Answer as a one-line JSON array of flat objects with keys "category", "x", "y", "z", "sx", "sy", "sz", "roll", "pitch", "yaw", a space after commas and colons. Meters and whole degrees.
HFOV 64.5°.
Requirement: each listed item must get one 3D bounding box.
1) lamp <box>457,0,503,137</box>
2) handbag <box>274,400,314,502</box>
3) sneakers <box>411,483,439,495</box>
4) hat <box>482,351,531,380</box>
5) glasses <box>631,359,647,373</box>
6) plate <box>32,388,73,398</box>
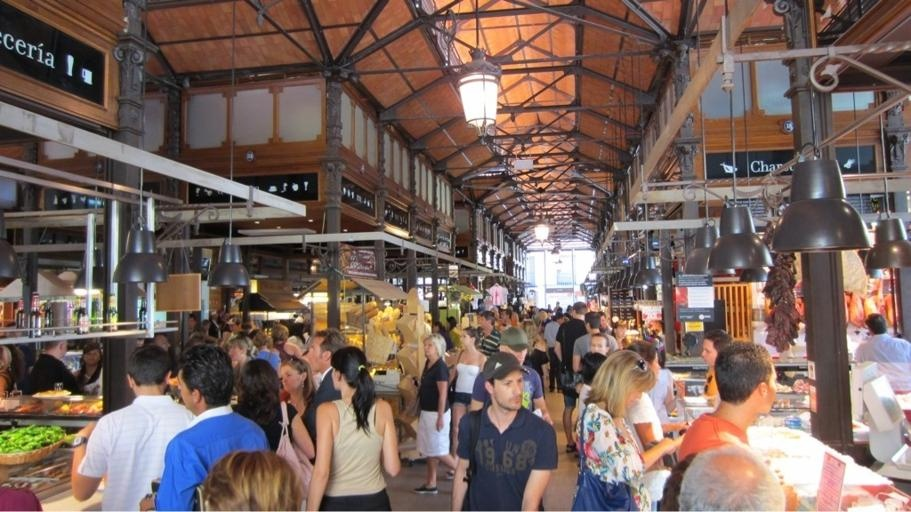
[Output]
[{"category": "lamp", "x": 0.361, "y": -2.520, "z": 10.601, "sx": 0.584, "sy": 1.237, "sz": 0.356, "roll": -1, "pitch": -7, "yaw": 0}, {"category": "handbag", "x": -2.032, "y": 2.569, "z": 9.225, "sx": 0.500, "sy": 1.341, "sz": 0.566, "roll": 2, "pitch": -7, "yaw": -24}, {"category": "sneakers", "x": -0.478, "y": 3.840, "z": 11.865, "sx": 0.377, "sy": 0.129, "sz": 0.146, "roll": 2, "pitch": -15, "yaw": 2}, {"category": "hat", "x": 0.590, "y": 1.314, "z": 8.653, "sx": 0.416, "sy": 0.211, "sz": 0.310, "roll": -27, "pitch": -18, "yaw": 38}, {"category": "glasses", "x": 2.292, "y": 1.337, "z": 8.829, "sx": 0.229, "sy": 0.120, "sz": 0.089, "roll": 5, "pitch": -9, "yaw": -45}, {"category": "plate", "x": -6.371, "y": 2.177, "z": 11.370, "sx": 0.533, "sy": 0.100, "sz": 0.708, "roll": 2, "pitch": -7, "yaw": -26}]
